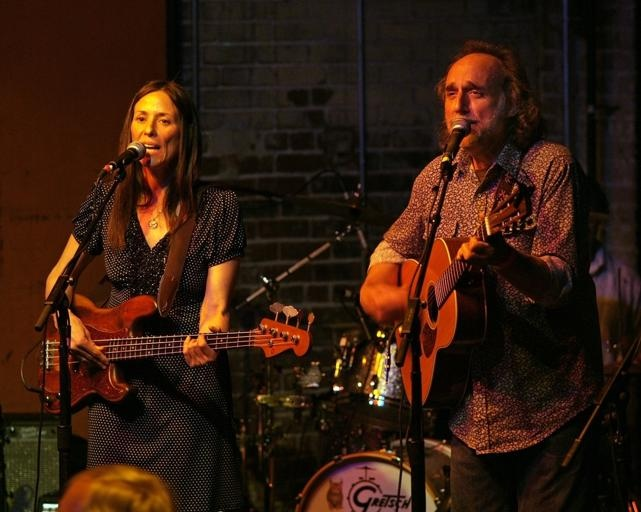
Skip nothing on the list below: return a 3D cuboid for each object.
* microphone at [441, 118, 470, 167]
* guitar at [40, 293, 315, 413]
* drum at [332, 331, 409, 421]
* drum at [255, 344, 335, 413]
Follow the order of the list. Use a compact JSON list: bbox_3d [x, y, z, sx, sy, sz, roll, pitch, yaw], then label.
[{"bbox_3d":[0.572,-0.486,3.692,0.071,0.283,0.074,20,-24,8],"label":"microphone"},{"bbox_3d":[-0.749,0.437,4.069,1.299,0.567,0.304,-6,-16,18],"label":"guitar"},{"bbox_3d":[0.284,0.683,4.846,0.345,0.182,0.541,16,-12,12],"label":"drum"},{"bbox_3d":[-0.085,0.787,5.458,0.458,0.406,0.314,-8,1,-37],"label":"drum"}]
